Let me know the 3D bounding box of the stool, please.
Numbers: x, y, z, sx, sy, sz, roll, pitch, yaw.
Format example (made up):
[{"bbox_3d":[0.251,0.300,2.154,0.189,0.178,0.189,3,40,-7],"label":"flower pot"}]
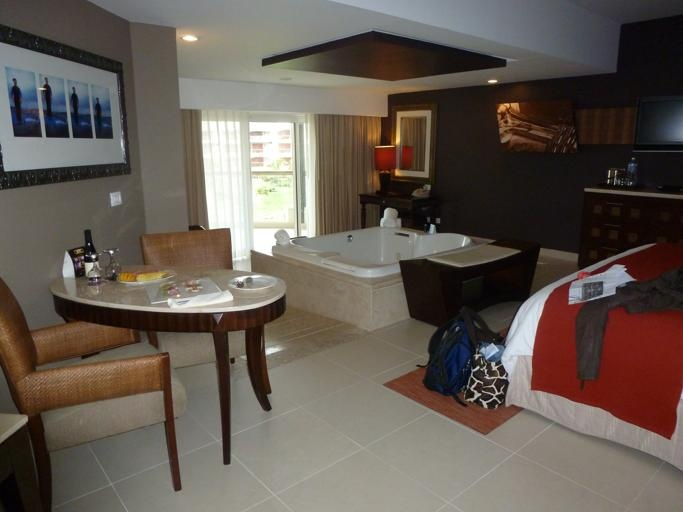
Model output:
[{"bbox_3d":[1.370,0.271,4.757,1.658,0.671,0.508,-12,20,-38],"label":"stool"}]

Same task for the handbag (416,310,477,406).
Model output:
[{"bbox_3d":[0.820,0.707,3.462,0.334,0.652,0.541,7,1,-9],"label":"handbag"}]

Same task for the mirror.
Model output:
[{"bbox_3d":[1.258,-1.924,8.198,0.887,1.261,0.042,-9,14,-32],"label":"mirror"}]

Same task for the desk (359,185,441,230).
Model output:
[{"bbox_3d":[0.891,-0.729,8.253,0.952,0.799,0.563,11,27,36],"label":"desk"}]

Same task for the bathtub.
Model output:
[{"bbox_3d":[0.196,-0.108,5.579,1.276,0.483,1.276,-12,17,-35],"label":"bathtub"}]

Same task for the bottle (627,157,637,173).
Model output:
[{"bbox_3d":[3.627,-1.115,5.749,0.109,0.172,0.243,6,15,31],"label":"bottle"}]

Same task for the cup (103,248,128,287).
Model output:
[{"bbox_3d":[-1.567,0.084,3.187,0.186,0.257,0.186,3,17,-1],"label":"cup"}]

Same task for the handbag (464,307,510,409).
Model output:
[{"bbox_3d":[1.033,0.828,3.338,0.234,0.445,0.341,-19,-31,26],"label":"handbag"}]
